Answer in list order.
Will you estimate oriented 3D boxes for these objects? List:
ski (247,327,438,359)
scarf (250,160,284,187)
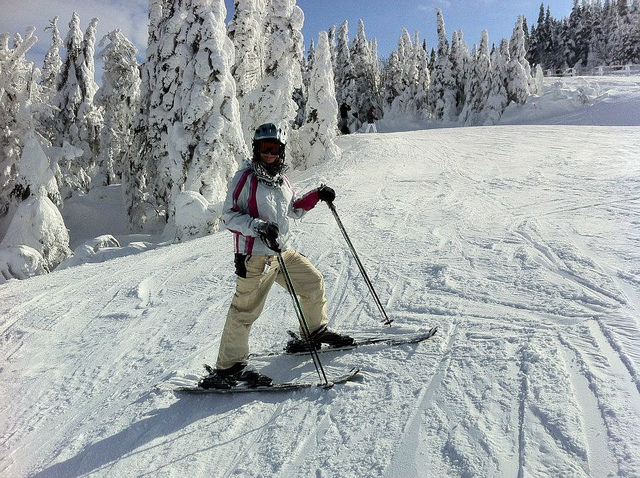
[{"bbox_3d":[0.412,1.468,6.817,1.788,0.150,0.203,-11,6,2],"label":"ski"},{"bbox_3d":[-0.694,-0.855,6.279,0.394,0.352,0.162,-6,15,-8],"label":"scarf"}]
